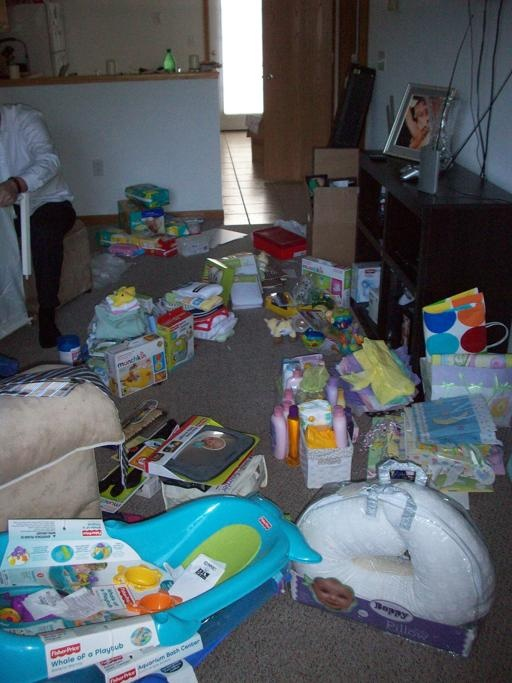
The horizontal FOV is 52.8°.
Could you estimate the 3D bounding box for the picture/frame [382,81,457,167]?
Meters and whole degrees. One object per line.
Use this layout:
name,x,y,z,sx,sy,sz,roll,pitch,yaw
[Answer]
picture/frame,0.746,-1.001,2.352,0.389,0.324,0.039,-14,34,-39

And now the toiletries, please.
toiletries,0.173,0.211,1.746,0.193,0.124,0.373,-3,33,-2

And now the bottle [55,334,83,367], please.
bottle,-0.724,0.033,1.986,0.082,0.091,0.082,-10,33,-31

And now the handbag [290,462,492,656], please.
handbag,0.301,0.442,1.124,0.411,0.358,0.257,15,30,31

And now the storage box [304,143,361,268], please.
storage box,0.475,-0.812,3.140,0.309,0.735,0.769,2,34,4

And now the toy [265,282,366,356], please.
toy,0.287,-0.117,2.601,0.298,0.091,0.444,-7,26,-19

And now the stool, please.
stool,-1.084,-0.383,2.929,0.484,0.402,0.476,-23,10,-11

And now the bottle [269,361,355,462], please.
bottle,0.178,0.197,1.707,0.198,0.131,0.365,-5,30,0

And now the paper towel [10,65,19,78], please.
paper towel,-1.870,-2.069,3.966,0.070,0.097,0.173,-12,28,-21
